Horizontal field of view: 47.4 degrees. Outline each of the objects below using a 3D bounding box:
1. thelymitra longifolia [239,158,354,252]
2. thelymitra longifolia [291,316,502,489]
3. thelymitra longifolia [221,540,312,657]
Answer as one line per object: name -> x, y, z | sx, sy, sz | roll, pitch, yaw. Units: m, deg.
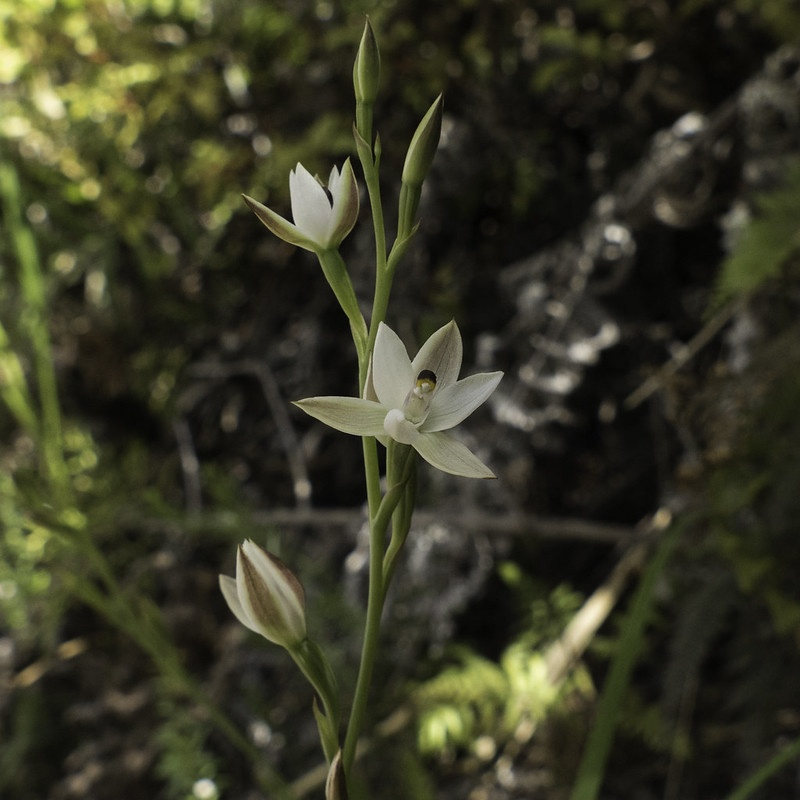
thelymitra longifolia -> -0.088, -0.203, 0.934 | 0.079, 0.085, 0.107 | 39, 63, 16
thelymitra longifolia -> 0.023, -0.016, 0.909 | 0.200, 0.078, 0.139 | 21, 59, 6
thelymitra longifolia -> -0.114, 0.206, 0.962 | 0.063, 0.143, 0.071 | -42, 45, -12
